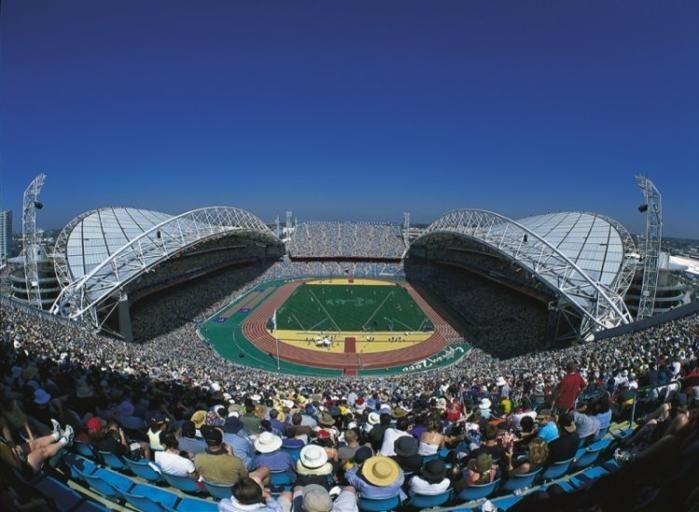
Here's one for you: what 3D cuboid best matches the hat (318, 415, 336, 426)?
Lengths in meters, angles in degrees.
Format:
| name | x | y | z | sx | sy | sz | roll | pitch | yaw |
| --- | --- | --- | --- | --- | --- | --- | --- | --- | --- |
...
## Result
| name | x | y | z | sx | sy | sz | roll | pitch | yaw |
| --- | --- | --- | --- | --- | --- | --- | --- | --- | --- |
| hat | -0.850 | 5.556 | 17.461 | 0.512 | 0.125 | 0.463 | 2 | 7 | -21 |

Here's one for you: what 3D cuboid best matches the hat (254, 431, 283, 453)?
| name | x | y | z | sx | sy | sz | roll | pitch | yaw |
| --- | --- | --- | --- | --- | --- | --- | --- | --- | --- |
| hat | -2.307 | 5.213 | 14.385 | 1.033 | 0.252 | 0.967 | -3 | 2 | -6 |

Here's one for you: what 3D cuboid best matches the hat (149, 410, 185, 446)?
| name | x | y | z | sx | sy | sz | roll | pitch | yaw |
| --- | --- | --- | --- | --- | --- | --- | --- | --- | --- |
| hat | -5.519 | 5.204 | 15.486 | 0.420 | 0.570 | 0.977 | 24 | -40 | 1 |
